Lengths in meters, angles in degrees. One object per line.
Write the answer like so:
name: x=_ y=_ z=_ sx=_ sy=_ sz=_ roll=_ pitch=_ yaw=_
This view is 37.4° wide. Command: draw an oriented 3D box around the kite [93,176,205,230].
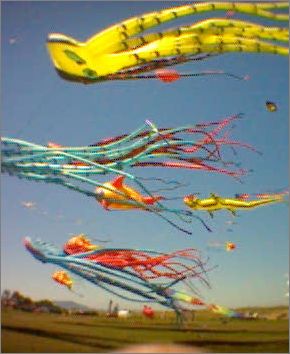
kite: x=-0.013 y=0.294 z=5.085 sx=1.444 sy=0.413 sz=0.266 roll=11 pitch=22 yaw=28

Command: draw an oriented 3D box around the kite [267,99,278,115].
kite: x=1.773 y=-0.980 z=5.979 sx=0.101 sy=0.156 sz=0.179 roll=-12 pitch=-26 yaw=28
